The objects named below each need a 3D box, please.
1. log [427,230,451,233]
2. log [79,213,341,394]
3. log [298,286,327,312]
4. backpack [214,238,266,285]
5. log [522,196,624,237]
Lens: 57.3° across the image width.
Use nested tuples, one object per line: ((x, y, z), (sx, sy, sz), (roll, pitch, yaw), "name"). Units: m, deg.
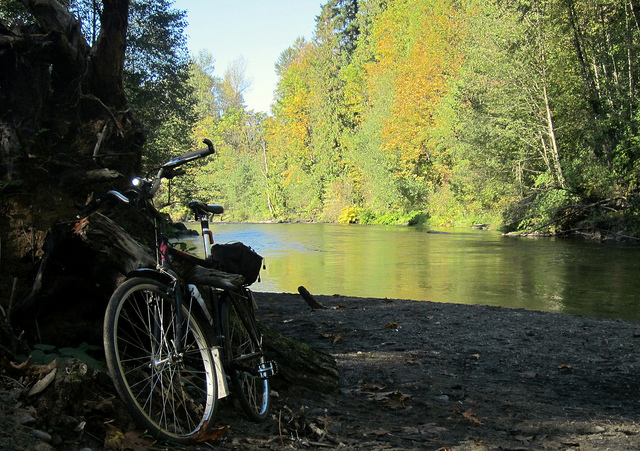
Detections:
((7.874, 0.422, 39.547), (1.229, 0.165, 1.399), (0, -2, 3), "log")
((-1.032, 0.978, 6.588), (1.501, 1.978, 3.103), (-28, -28, 23), "log")
((-0.163, 1.441, 11.234), (0.183, 0.224, 0.930), (-8, 27, -22), "log")
((-0.896, 0.324, 6.025), (0.405, 0.346, 0.444), (-1, 6, -25), "backpack")
((12.926, -0.486, 29.563), (0.601, 0.754, 6.790), (2, 16, 44), "log")
